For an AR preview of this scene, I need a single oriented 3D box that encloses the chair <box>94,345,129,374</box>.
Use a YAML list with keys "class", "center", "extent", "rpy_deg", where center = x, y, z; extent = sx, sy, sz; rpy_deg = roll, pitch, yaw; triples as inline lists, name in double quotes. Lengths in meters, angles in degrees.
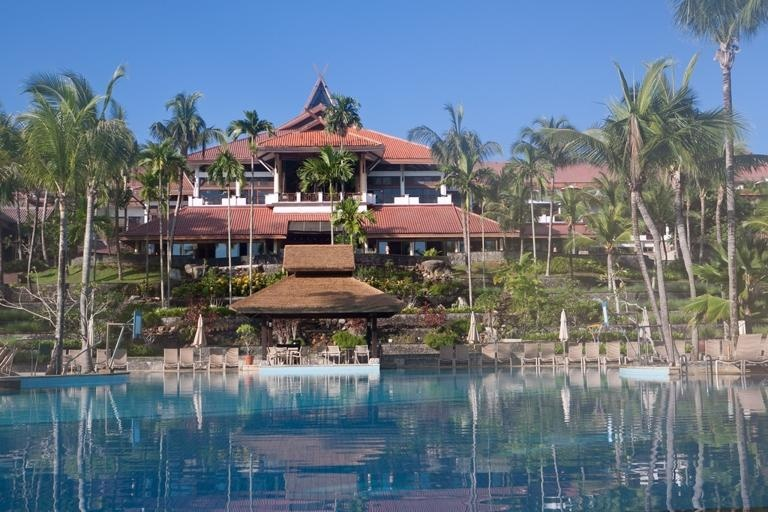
- class: "chair"
  center: [-14.789, 5.666, 55.710]
  extent: [1.177, 1.322, 2.203]
  rpy_deg: [2, -17, -21]
